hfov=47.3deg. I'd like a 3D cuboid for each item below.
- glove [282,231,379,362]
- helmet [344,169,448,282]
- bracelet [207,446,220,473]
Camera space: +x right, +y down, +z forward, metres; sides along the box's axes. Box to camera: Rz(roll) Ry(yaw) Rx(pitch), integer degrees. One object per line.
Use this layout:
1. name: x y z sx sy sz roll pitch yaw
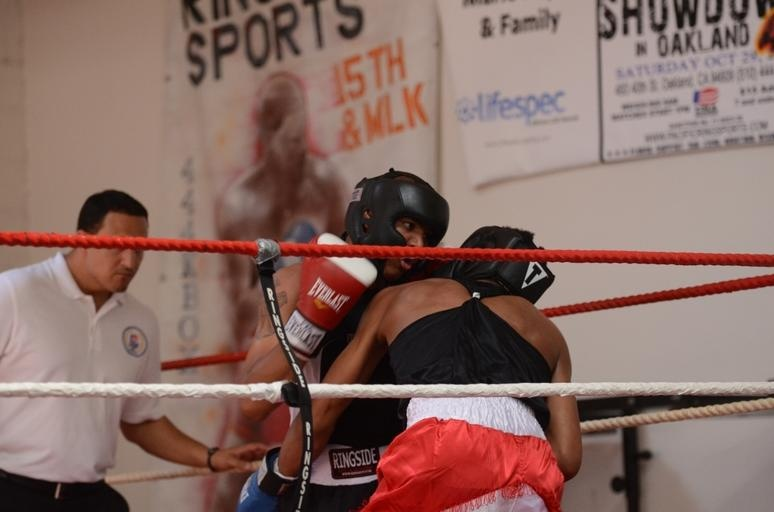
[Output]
1. glove: -0.244 0.154 3.548 0.307 0.524 0.198 28 -5 -4
2. helmet: 0.067 -0.083 3.821 0.483 0.488 0.399 -7 -21 36
3. bracelet: -0.754 0.896 3.874 0.065 0.096 0.100 10 40 1
